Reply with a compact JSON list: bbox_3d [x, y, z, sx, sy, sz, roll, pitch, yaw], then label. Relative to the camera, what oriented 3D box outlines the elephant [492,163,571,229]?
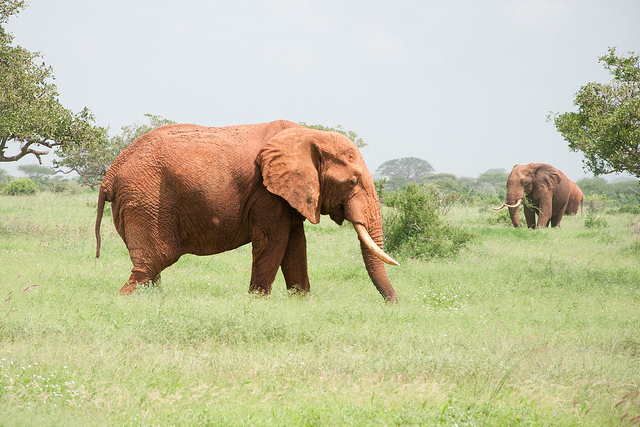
[{"bbox_3d":[9.499,-0.554,26.172,4.310,3.128,2.422,6,-5,-36],"label":"elephant"}]

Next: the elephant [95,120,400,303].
[{"bbox_3d":[-1.334,0.111,12.294,6.037,3.662,2.457,-1,6,-16],"label":"elephant"}]
